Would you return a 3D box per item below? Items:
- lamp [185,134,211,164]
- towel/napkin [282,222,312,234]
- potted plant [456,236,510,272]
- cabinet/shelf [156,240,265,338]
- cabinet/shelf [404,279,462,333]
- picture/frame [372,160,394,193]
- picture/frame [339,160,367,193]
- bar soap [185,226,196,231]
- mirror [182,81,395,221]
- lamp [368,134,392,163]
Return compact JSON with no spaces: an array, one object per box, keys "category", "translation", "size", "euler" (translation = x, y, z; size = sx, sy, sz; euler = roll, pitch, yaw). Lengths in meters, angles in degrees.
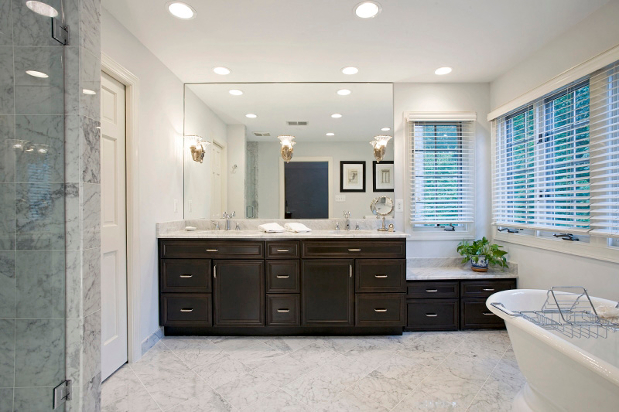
[{"category":"lamp","translation":[-1.259,-0.621,5.054],"size":[0.151,0.317,0.359],"euler":[-13,-19,13]},{"category":"towel/napkin","translation":[-0.133,0.243,4.839],"size":[0.316,0.106,0.269],"euler":[-1,-1,-3]},{"category":"potted plant","translation":[1.928,0.528,4.909],"size":[0.427,0.254,0.432],"euler":[1,-1,19]},{"category":"cabinet/shelf","translation":[-1.024,0.811,4.480],"size":[1.104,0.846,0.415],"euler":[0,-3,-2]},{"category":"cabinet/shelf","translation":[1.295,1.042,4.840],"size":[0.743,0.654,0.494],"euler":[0,-5,1]},{"category":"picture/frame","translation":[0.869,-0.334,5.021],"size":[0.308,0.326,0.016],"euler":[-1,2,-28]},{"category":"picture/frame","translation":[0.479,-0.334,4.981],"size":[0.406,0.403,0.033],"euler":[1,-1,-7]},{"category":"bar soap","translation":[-1.344,0.259,4.924],"size":[0.081,0.049,0.136],"euler":[-1,-1,17]},{"category":"mirror","translation":[-0.215,-0.382,4.954],"size":[2.218,1.410,0.016],"euler":[-2,-6,18]},{"category":"lamp","translation":[0.814,-0.675,5.157],"size":[0.289,0.289,0.287],"euler":[0,-5,1]}]
